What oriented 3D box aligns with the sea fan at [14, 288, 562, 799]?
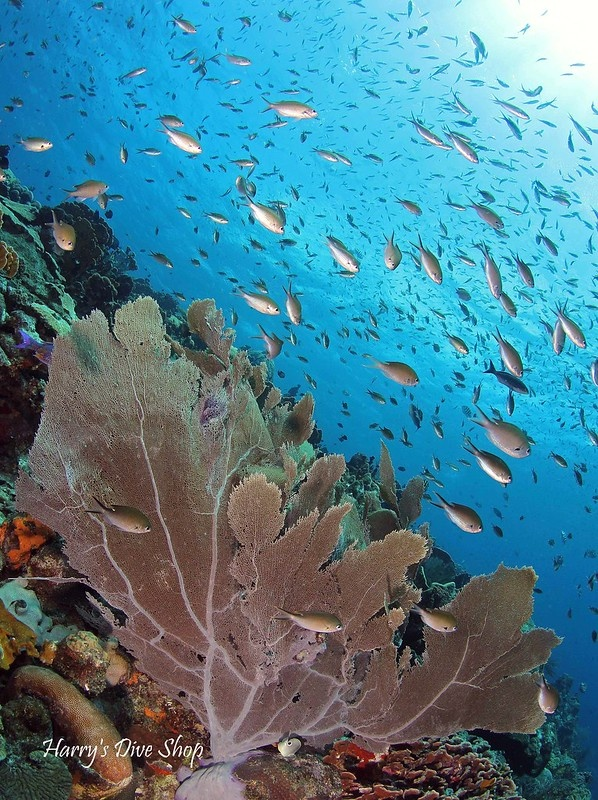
[{"bbox_3d":[-0.009,0.983,6.933,4.784,3.968,2.261,21,51,4],"label":"sea fan"}]
